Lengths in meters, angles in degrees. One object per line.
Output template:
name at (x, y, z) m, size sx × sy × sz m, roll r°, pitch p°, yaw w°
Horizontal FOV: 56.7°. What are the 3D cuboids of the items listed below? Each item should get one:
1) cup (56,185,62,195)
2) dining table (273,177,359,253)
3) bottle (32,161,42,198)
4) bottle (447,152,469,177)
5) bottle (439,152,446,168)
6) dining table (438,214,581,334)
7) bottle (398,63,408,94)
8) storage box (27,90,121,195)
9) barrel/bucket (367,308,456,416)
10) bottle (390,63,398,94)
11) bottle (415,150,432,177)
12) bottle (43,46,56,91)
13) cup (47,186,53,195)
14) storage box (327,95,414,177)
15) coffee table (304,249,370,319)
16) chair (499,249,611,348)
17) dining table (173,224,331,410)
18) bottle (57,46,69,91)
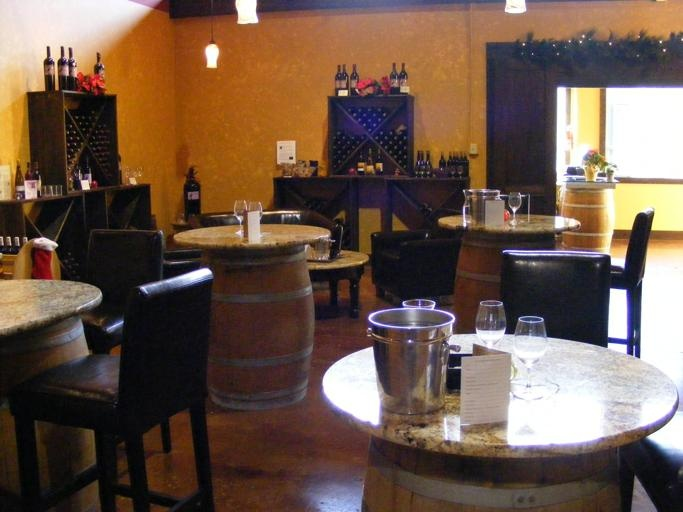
cup at (-2.556, -0.613, 5.733) m, size 0.050 × 0.075 × 0.071 m, roll -4°, pitch 12°, yaw -9°
dining table at (-0.229, -0.455, 6.541) m, size 0.891 × 0.927 × 0.313 m, roll 0°, pitch 0°, yaw 12°
bottle at (-2.727, -0.708, 5.673) m, size 0.072 × 0.287 × 0.448 m, roll -7°, pitch 13°, yaw -25°
bottle at (1.364, -1.086, 7.438) m, size 0.252 × 0.263 × 0.311 m, roll 0°, pitch 12°, yaw 11°
bottle at (1.188, -1.150, 7.477) m, size 0.071 × 0.178 × 0.290 m, roll 0°, pitch 12°, yaw 9°
dining table at (1.068, 0.032, 4.318) m, size 0.790 × 0.938 × 0.792 m, roll -2°, pitch 8°, yaw -9°
bottle at (0.715, -2.086, 7.353) m, size 0.123 × 0.359 × 0.391 m, roll 0°, pitch 12°, yaw 6°
storage box at (-2.572, -1.110, 6.006) m, size 0.361 × 1.033 × 1.067 m, roll 1°, pitch 1°, yaw 18°
barrel/bucket at (0.205, 0.310, 2.058) m, size 0.310 × 0.287 × 0.290 m, roll -1°, pitch 13°, yaw 0°
bottle at (0.607, -2.082, 7.356) m, size 0.108 × 0.342 × 0.191 m, roll -1°, pitch 11°, yaw 5°
bottle at (0.970, -1.121, 7.530) m, size 0.188 × 0.289 × 0.414 m, roll 0°, pitch 12°, yaw 8°
bottle at (-2.689, -1.727, 5.812) m, size 0.089 × 0.395 × 0.389 m, roll -7°, pitch 13°, yaw -24°
cup at (-2.613, -0.603, 5.687) m, size 0.055 × 0.073 × 0.090 m, roll -7°, pitch 13°, yaw -24°
storage box at (0.353, -1.461, 7.527) m, size 0.948 × 0.949 × 0.321 m, roll 0°, pitch 1°, yaw 15°
coffee table at (-0.014, 0.210, 5.740) m, size 0.541 × 0.433 × 0.566 m, roll 0°, pitch 6°, yaw 1°
chair at (0.953, 0.171, 3.066) m, size 0.401 × 0.624 × 0.473 m, roll 2°, pitch 0°, yaw 12°
dining table at (-0.388, 0.314, 4.071) m, size 0.952 × 1.152 × 1.010 m, roll 0°, pitch 8°, yaw 2°
bottle at (-2.553, -1.727, 5.813) m, size 0.098 × 0.385 × 0.232 m, roll -6°, pitch 12°, yaw -23°
